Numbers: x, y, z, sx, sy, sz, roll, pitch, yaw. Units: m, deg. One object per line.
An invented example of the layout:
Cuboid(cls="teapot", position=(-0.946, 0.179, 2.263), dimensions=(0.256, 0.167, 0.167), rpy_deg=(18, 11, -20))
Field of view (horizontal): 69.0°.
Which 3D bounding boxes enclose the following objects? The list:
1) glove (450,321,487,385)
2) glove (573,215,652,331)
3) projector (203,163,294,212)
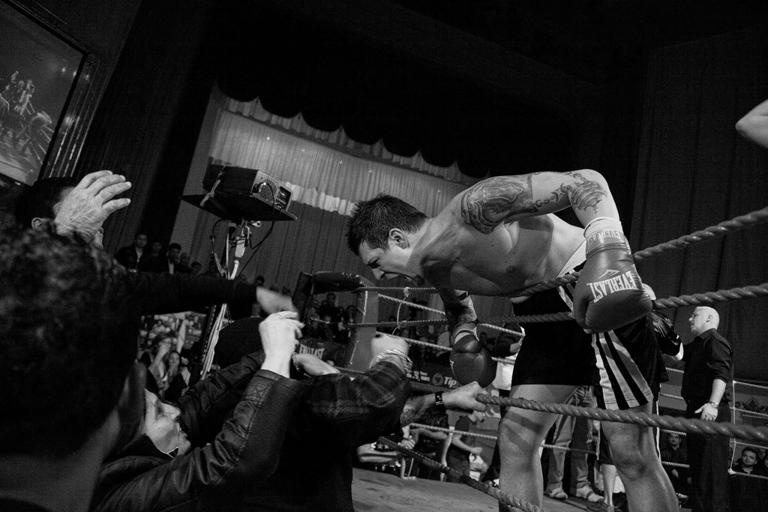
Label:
Cuboid(cls="glove", position=(0.405, 0.476, 2.752), dimensions=(0.102, 0.247, 0.178), rpy_deg=(6, -39, -19))
Cuboid(cls="glove", position=(0.832, 0.077, 2.077), dimensions=(0.252, 0.410, 0.158), rpy_deg=(-15, -33, 12))
Cuboid(cls="projector", position=(-1.142, -0.557, 4.727), dimensions=(0.658, 0.240, 0.501), rpy_deg=(14, -8, 31))
